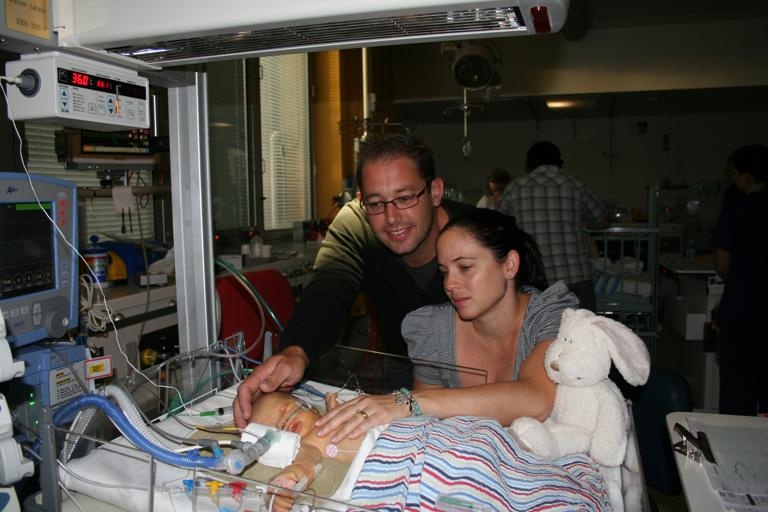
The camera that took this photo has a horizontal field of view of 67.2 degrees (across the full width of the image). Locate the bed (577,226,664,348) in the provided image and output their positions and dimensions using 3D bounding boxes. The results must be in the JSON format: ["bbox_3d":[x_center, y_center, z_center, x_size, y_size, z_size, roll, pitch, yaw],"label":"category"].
[{"bbox_3d":[1.961,0.153,5.199,0.745,1.233,1.451,2,9,14],"label":"bed"}]

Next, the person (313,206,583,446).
[{"bbox_3d":[0.296,0.164,2.127,0.912,0.718,0.612,-7,6,-43],"label":"person"}]

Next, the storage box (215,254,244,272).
[{"bbox_3d":[-0.847,0.040,3.201,0.086,0.064,0.124,1,2,2],"label":"storage box"}]

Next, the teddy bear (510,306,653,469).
[{"bbox_3d":[0.611,0.426,1.854,0.395,0.507,0.349,0,-4,13],"label":"teddy bear"}]

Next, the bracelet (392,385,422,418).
[{"bbox_3d":[0.078,0.465,1.840,0.058,0.088,0.037,-23,-26,-18],"label":"bracelet"}]

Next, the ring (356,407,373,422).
[{"bbox_3d":[-0.062,0.489,1.776,0.029,0.029,0.026,36,16,10],"label":"ring"}]

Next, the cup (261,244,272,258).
[{"bbox_3d":[-0.920,-0.038,4.595,0.091,0.090,0.084,0,4,0],"label":"cup"}]
